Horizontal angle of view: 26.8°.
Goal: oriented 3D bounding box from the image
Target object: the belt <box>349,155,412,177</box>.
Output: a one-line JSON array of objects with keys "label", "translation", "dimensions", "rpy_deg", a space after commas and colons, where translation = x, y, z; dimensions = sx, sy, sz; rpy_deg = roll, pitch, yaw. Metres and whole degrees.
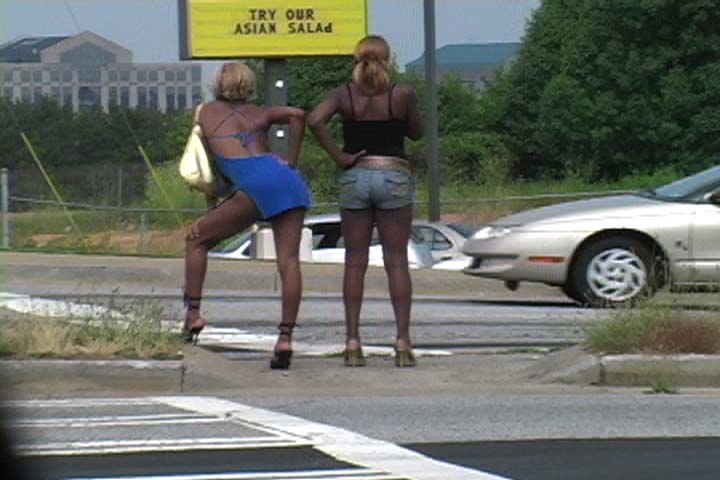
[{"label": "belt", "translation": [0.262, -0.976, 19.229], "dimensions": [0.744, 0.232, 0.140], "rpy_deg": [-2, 14, -7]}]

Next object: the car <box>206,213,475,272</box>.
[{"label": "car", "translation": [0.015, 0.022, 25.458], "dimensions": [3.191, 1.058, 1.716], "rpy_deg": [2, -16, 1]}]
